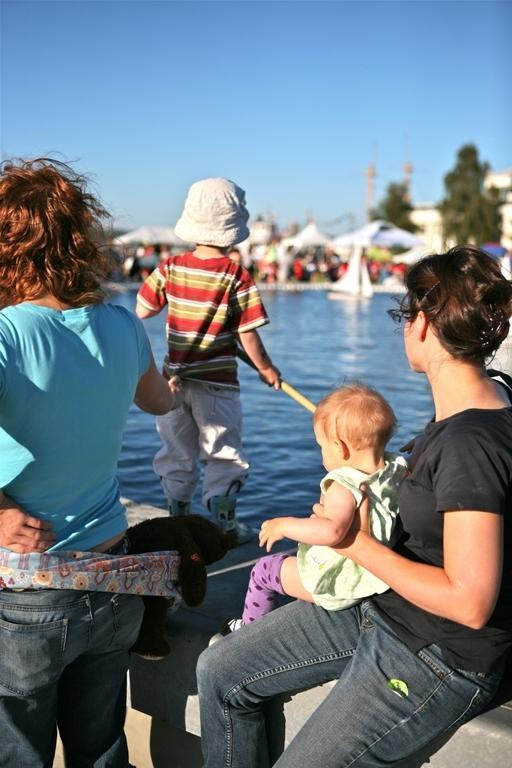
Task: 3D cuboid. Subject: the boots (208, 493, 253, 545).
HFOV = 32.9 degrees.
[{"bbox_3d":[-0.124,0.588,3.763,0.109,0.195,0.231,-15,-23,42],"label":"boots"}]
